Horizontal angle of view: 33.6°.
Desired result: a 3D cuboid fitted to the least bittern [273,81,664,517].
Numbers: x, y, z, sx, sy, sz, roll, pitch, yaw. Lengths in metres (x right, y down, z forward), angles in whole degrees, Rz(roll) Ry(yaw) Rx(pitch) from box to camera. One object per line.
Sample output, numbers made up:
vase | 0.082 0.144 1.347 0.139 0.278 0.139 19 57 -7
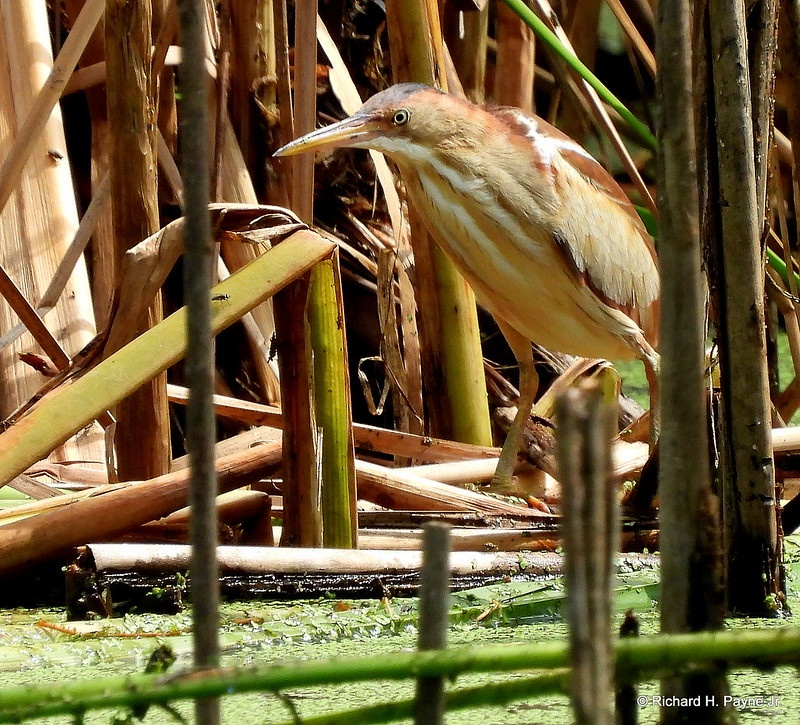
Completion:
least bittern | 0.189 -0.107 2.140 0.790 0.659 0.255 -4 9 -41
